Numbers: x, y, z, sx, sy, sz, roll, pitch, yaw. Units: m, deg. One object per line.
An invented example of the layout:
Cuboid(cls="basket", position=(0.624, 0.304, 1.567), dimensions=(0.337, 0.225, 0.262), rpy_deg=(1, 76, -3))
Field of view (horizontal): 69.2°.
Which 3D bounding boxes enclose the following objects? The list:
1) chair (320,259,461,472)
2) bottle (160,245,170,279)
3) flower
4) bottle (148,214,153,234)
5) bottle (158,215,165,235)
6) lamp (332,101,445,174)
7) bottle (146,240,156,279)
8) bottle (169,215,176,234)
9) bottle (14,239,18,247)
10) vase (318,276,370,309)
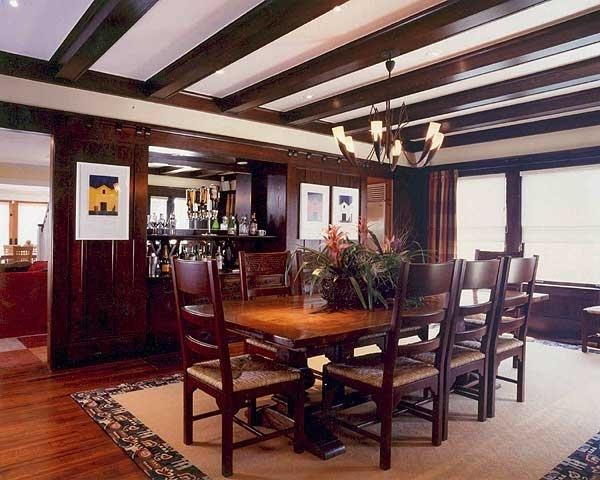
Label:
Cuboid(cls="chair", position=(0.583, 0.712, 2.739), dimensions=(0.832, 1.210, 0.475), rpy_deg=(-1, 5, -21))
Cuboid(cls="bottle", position=(-1.507, 0.220, 4.855), dimensions=(0.100, 0.325, 0.220), rpy_deg=(-1, 5, -18))
Cuboid(cls="flower", position=(0.500, 0.234, 3.201), dimensions=(0.875, 0.450, 0.662), rpy_deg=(4, -6, -41))
Cuboid(cls="bottle", position=(-1.660, -0.177, 4.831), dimensions=(0.061, 0.208, 0.203), rpy_deg=(-1, 5, -18))
Cuboid(cls="bottle", position=(-1.572, -0.182, 4.934), dimensions=(0.073, 0.212, 0.249), rpy_deg=(-1, 5, -18))
Cuboid(cls="lamp", position=(1.012, -1.247, 5.180), dimensions=(1.065, 1.228, 0.991), rpy_deg=(-2, 5, -40))
Cuboid(cls="bottle", position=(-1.622, 0.200, 4.778), dimensions=(0.112, 0.376, 0.317), rpy_deg=(-1, 5, -19))
Cuboid(cls="bottle", position=(-1.453, -0.178, 4.941), dimensions=(0.057, 0.222, 0.141), rpy_deg=(0, 5, -10))
Cuboid(cls="bottle", position=(-8.241, 0.057, 12.610), dimensions=(0.032, 0.123, 0.132), rpy_deg=(8, 8, 18))
Cuboid(cls="vase", position=(0.279, 0.376, 3.050), dimensions=(0.251, 0.135, 0.226), rpy_deg=(2, -2, 5))
